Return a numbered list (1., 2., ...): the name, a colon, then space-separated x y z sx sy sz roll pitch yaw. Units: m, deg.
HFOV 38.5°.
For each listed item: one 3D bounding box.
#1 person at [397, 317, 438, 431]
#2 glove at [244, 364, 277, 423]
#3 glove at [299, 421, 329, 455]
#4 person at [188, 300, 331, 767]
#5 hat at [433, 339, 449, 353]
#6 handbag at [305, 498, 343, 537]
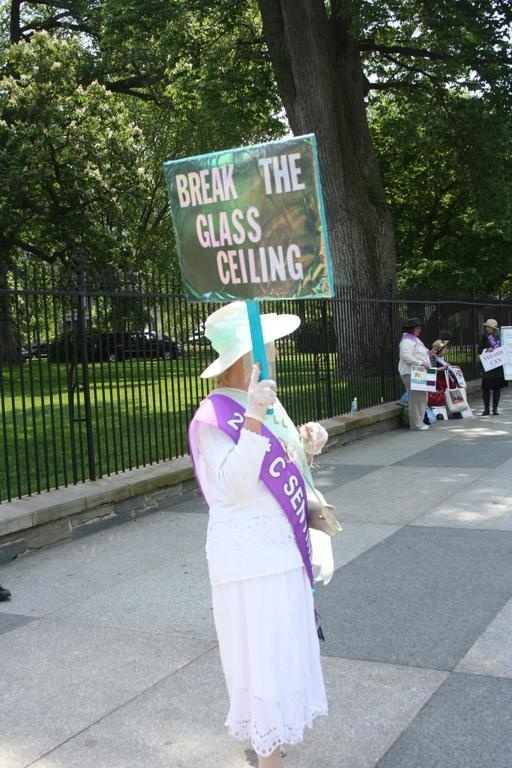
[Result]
1. person: 2.707 -0.161 12.382 0.542 1.739 0.641 -8 1 10
2. glove: 0.008 0.025 2.040 0.091 0.153 0.081 -8 1 -2
3. glove: 0.202 0.183 2.503 0.088 0.121 0.056 5 0 17
4. person: 0.024 0.442 2.267 0.413 1.364 0.340 -9 1 -20
5. hat: 3.271 -0.642 13.082 0.290 0.086 0.302 -50 -3 -13
6. handbag: 0.244 0.470 2.574 0.092 0.138 0.050 -30 26 33
